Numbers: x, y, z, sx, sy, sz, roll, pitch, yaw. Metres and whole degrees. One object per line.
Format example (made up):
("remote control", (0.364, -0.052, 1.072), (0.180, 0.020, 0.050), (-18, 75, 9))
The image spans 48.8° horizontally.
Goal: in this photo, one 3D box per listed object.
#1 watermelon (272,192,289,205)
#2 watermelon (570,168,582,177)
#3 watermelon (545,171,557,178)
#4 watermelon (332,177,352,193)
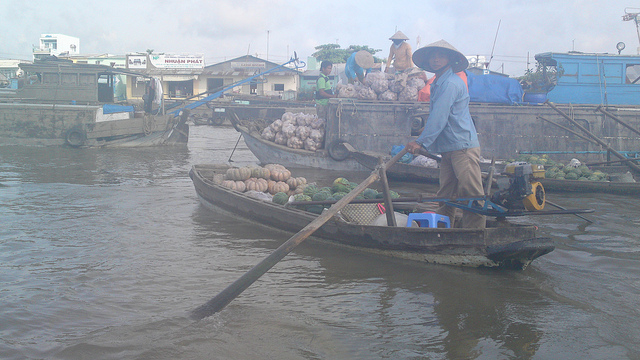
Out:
("watermelon", (-1.143, 0.529, 20.329), (0.392, 0.325, 0.362), (2, -1, 1))
("watermelon", (8.605, -0.256, 23.668), (0.312, 0.101, 0.257), (21, -2, 2))
("watermelon", (7.827, -0.188, 23.826), (0.375, 0.151, 0.262), (-7, -4, 4))
("watermelon", (0.608, 0.149, 20.299), (0.395, 0.242, 0.468), (-8, 2, 0))
